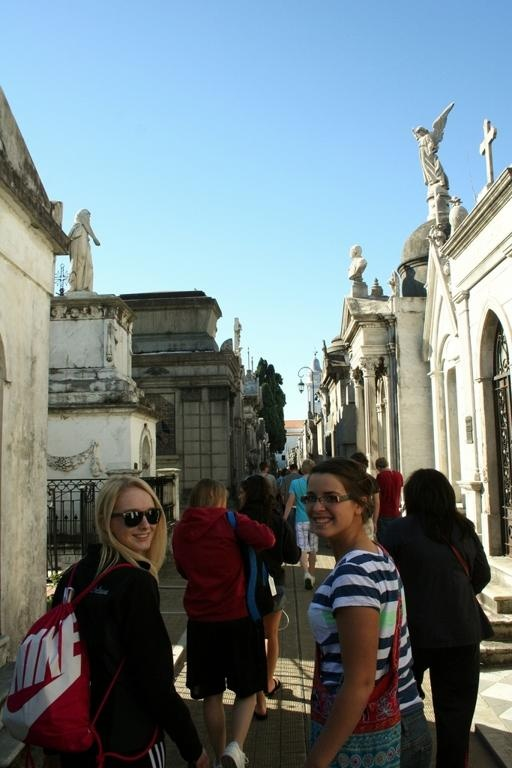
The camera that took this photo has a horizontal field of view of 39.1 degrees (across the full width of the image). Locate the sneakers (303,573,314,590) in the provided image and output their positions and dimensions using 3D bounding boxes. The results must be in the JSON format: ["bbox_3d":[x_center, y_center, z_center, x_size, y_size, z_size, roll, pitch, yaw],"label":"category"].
[{"bbox_3d":[0.617,2.419,8.645,0.087,0.263,0.106,-3,10,5],"label":"sneakers"}]

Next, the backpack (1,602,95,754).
[{"bbox_3d":[-0.653,0.938,2.295,0.209,0.429,0.201,-8,-10,36],"label":"backpack"}]

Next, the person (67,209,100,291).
[{"bbox_3d":[-3.298,-2.536,13.758,0.526,1.512,0.814,0,-8,-16],"label":"person"}]
